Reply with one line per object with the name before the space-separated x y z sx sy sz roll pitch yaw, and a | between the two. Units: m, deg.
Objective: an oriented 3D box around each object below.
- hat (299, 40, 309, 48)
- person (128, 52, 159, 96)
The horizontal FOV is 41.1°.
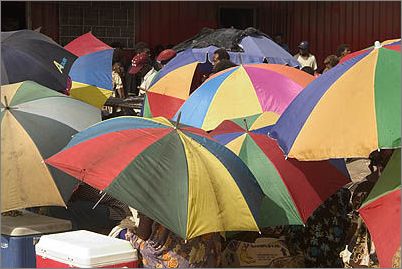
hat | 2.652 -2.316 13.695 0.166 0.115 0.281 11 11 24
person | -1.222 -1.258 10.812 0.543 0.783 0.428 -21 22 -18
